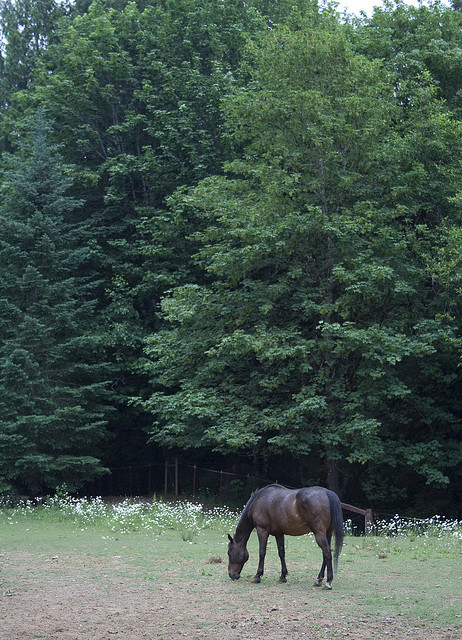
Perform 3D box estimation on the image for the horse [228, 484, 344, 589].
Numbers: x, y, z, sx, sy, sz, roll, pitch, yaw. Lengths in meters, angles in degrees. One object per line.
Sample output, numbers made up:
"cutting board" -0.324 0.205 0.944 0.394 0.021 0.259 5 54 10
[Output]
"horse" 1.051 4.331 21.890 2.969 1.954 0.871 -11 -18 40
